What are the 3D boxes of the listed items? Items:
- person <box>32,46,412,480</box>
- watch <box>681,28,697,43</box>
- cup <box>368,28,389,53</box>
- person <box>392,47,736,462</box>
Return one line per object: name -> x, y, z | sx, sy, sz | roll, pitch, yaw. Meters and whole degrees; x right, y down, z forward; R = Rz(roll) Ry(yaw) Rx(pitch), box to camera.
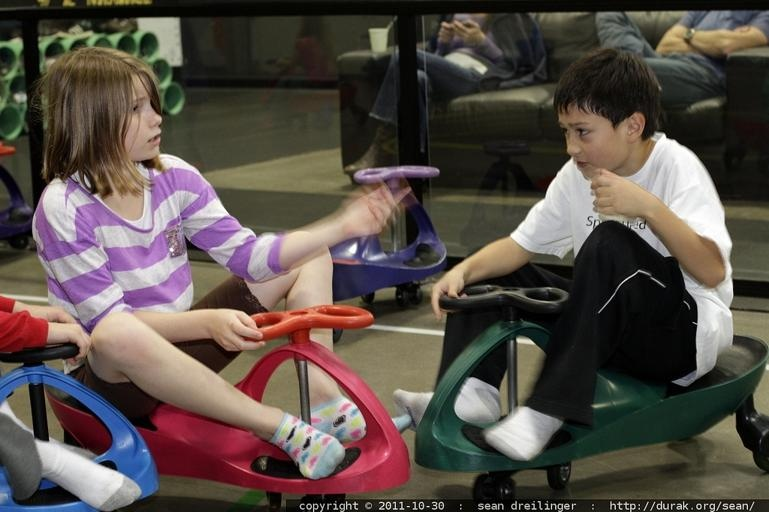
person -> -0.450, -0.085, 2.186 | 1.196, 1.195, 0.941 | 1, 15, 24
watch -> 1.298, -0.935, 2.876 | 0.047, 0.043, 0.045 | -9, 33, -9
cup -> -0.031, -1.007, 3.157 | 0.096, 0.080, 0.091 | 1, 11, 0
person -> 0.545, -0.044, 1.867 | 0.802, 1.014, 0.534 | -10, 18, -25
